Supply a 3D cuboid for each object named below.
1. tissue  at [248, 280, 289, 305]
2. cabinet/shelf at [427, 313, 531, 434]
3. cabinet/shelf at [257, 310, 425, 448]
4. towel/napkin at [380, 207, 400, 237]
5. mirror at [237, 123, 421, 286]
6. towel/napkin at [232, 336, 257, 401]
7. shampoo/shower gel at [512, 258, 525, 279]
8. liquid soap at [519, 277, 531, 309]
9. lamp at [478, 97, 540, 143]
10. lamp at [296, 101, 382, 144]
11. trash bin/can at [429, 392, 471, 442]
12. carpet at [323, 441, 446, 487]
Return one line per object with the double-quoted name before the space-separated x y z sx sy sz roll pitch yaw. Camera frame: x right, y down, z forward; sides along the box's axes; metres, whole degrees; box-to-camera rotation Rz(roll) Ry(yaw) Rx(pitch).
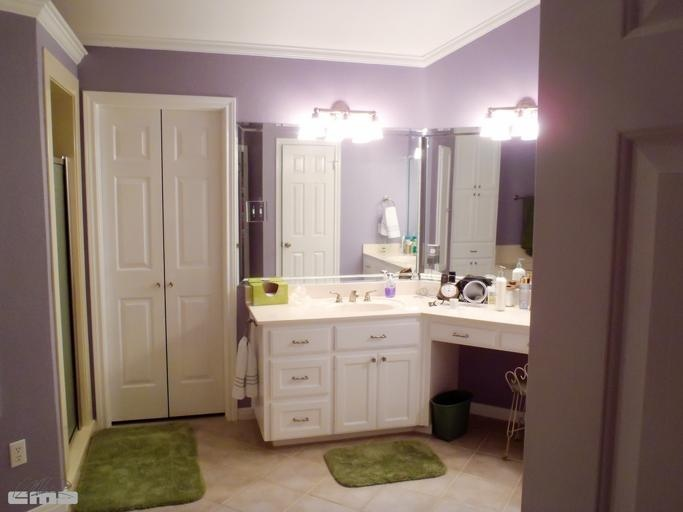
"tissue " -0.485 0.221 3.522 0.280 0.152 0.229 -2 7 -12
"cabinet/shelf" 0.862 0.711 3.347 0.594 0.795 0.627 3 8 23
"cabinet/shelf" -0.004 0.705 3.411 1.012 0.768 0.584 -1 11 -12
"towel/napkin" 0.328 -0.253 3.708 0.169 0.250 0.133 -3 7 -27
"mirror" -0.135 -0.394 3.615 1.037 1.217 0.079 0 3 -14
"towel/napkin" -0.589 0.673 3.264 0.152 0.378 0.149 -1 8 -3
"shampoo/shower gel" 1.130 0.081 3.384 0.082 0.138 0.062 0 8 2
"liquid soap" 1.138 0.220 3.320 0.058 0.190 0.126 3 8 21
"lamp" 1.046 -0.858 3.359 0.335 0.252 0.192 2 8 15
"lamp" -0.003 -0.885 3.568 0.351 0.182 0.357 -1 11 -7
"trash bin/can" 0.687 0.985 3.368 0.191 0.243 0.313 4 7 43
"carpet" 0.232 1.155 3.036 0.643 0.023 0.458 -2 7 -12
